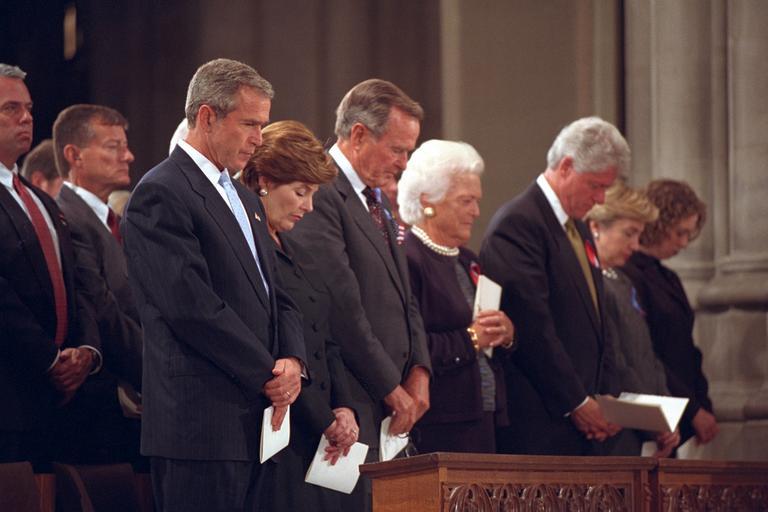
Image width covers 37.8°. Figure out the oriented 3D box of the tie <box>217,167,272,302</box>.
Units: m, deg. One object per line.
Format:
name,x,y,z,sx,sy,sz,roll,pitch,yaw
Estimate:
tie,-0.738,-0.196,5.786,0.142,1.005,0.081,8,-46,-37
